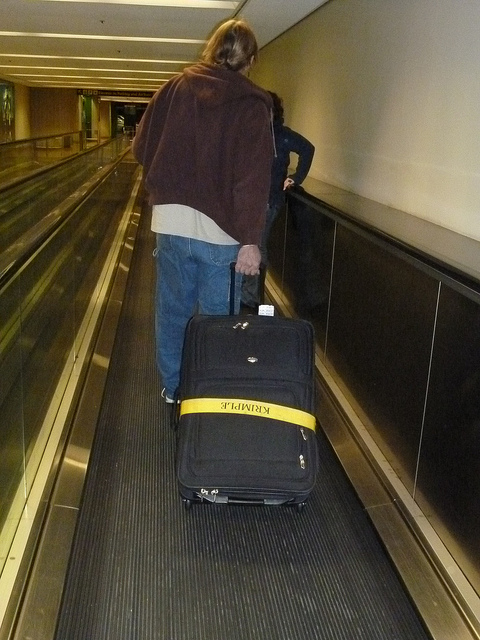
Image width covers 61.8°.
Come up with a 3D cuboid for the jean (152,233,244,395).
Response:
[{"bbox_3d":[-0.229,-0.158,2.046,0.367,1.128,0.353,6,43,-2],"label":"jean"}]

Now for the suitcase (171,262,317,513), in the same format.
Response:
[{"bbox_3d":[0.035,0.285,1.424,0.487,0.582,0.412,1,3,-3],"label":"suitcase"}]
